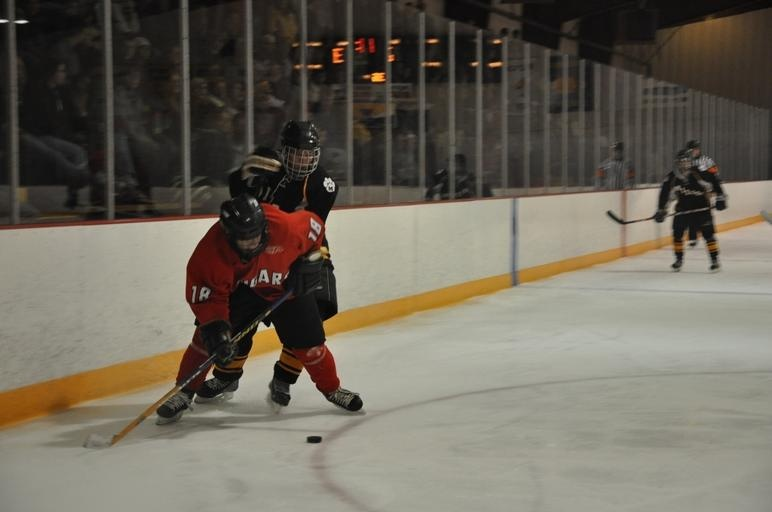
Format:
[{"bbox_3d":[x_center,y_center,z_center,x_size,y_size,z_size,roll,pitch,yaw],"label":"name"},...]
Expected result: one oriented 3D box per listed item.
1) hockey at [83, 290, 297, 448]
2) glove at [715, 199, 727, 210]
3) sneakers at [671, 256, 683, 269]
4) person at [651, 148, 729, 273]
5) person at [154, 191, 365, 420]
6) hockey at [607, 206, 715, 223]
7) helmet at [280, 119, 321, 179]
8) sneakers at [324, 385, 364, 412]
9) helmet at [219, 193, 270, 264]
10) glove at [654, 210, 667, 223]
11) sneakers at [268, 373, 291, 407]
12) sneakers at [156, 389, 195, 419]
[{"bbox_3d":[-1.327,0.758,5.147,1.466,0.159,0.219,-37,24,-31],"label":"hockey"},{"bbox_3d":[4.729,-0.711,10.927,0.133,0.145,0.277,8,14,38],"label":"glove"},{"bbox_3d":[4.003,0.098,10.678,0.125,0.185,0.266,4,12,22],"label":"sneakers"},{"bbox_3d":[4.311,-0.643,10.780,0.781,1.622,0.872,3,13,17],"label":"person"},{"bbox_3d":[-0.935,0.368,5.298,1.635,1.582,1.014,0,29,-7],"label":"person"},{"bbox_3d":[4.085,-0.612,11.608,1.590,0.125,0.212,-9,29,30],"label":"hockey"},{"bbox_3d":[-0.588,-0.710,5.268,0.258,0.385,0.242,-3,12,-9],"label":"helmet"},{"bbox_3d":[-0.268,0.941,5.145,0.264,0.099,0.116,16,62,38],"label":"sneakers"},{"bbox_3d":[-0.853,-0.143,4.675,0.245,0.307,0.300,-33,55,-9],"label":"helmet"},{"bbox_3d":[4.041,-0.579,11.476,0.148,0.174,0.067,9,27,0],"label":"glove"},{"bbox_3d":[-0.719,0.914,5.228,0.095,0.102,0.256,10,15,-15],"label":"sneakers"},{"bbox_3d":[-1.324,0.943,4.995,0.104,0.114,0.264,-41,4,39],"label":"sneakers"}]
